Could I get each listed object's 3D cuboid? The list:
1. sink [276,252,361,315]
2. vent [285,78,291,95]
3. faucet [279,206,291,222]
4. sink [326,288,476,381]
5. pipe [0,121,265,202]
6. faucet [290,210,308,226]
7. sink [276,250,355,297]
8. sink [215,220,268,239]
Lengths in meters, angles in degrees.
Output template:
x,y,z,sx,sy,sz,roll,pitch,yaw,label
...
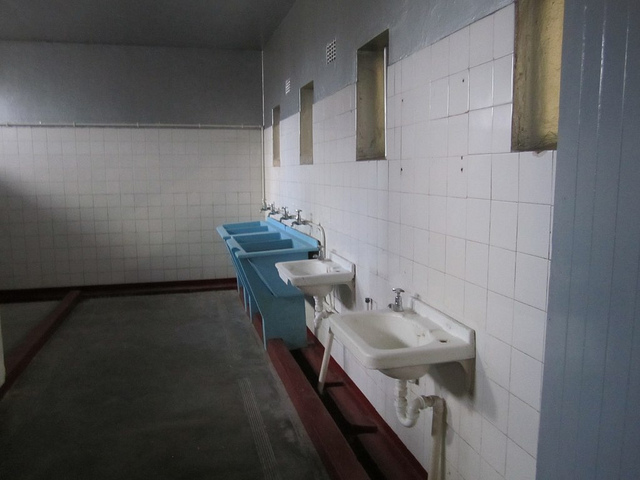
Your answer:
x,y,z,sx,sy,sz,roll,pitch,yaw,label
-0.053,0.364,3.822,0.611,0.441,0.745,-3,12,-13,sink
-0.391,-1.840,5.306,0.036,0.150,0.151,-3,2,-5,vent
-0.418,-0.299,5.305,0.136,0.172,0.156,-1,14,-10,faucet
0.431,0.608,2.581,0.626,0.345,0.942,-3,4,-5,sink
-2.576,-1.153,6.631,3.442,1.170,0.127,-3,11,-10,pipe
-0.221,-0.232,4.733,0.147,0.147,0.154,-2,7,-21,faucet
-0.089,0.297,3.815,0.568,0.276,0.717,-5,13,-21,sink
-1.024,-0.143,5.897,0.353,0.103,0.381,-7,23,-9,sink
